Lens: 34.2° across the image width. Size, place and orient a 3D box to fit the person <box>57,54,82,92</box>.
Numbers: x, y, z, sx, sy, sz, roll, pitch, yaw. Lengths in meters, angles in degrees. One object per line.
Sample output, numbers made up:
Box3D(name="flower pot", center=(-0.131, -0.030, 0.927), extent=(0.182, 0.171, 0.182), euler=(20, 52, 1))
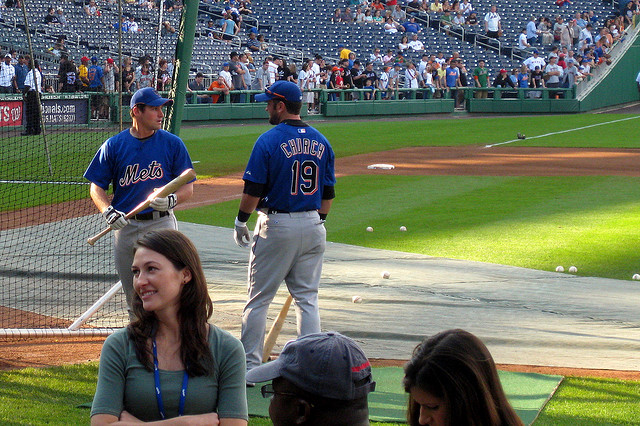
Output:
Box3D(name="person", center=(-8.052, -4.376, 33.166), extent=(0.671, 1.181, 1.072), euler=(-5, 14, -34))

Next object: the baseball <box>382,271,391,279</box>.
Box3D(name="baseball", center=(1.102, 1.058, 17.147), extent=(0.114, 0.115, 0.102), euler=(-1, -24, 19))

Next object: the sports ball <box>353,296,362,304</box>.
Box3D(name="sports ball", center=(0.580, 1.366, 16.083), extent=(0.107, 0.115, 0.099), euler=(20, -30, 12))

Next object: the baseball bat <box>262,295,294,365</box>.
Box3D(name="baseball bat", center=(-0.577, 1.625, 14.033), extent=(0.134, 0.990, 0.138), euler=(28, 6, 21))

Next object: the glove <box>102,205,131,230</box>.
Box3D(name="glove", center=(-2.702, 0.097, 13.715), extent=(0.327, 0.128, 0.244), euler=(31, -7, 42))

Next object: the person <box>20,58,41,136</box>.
Box3D(name="person", center=(-8.409, -3.306, 30.251), extent=(0.745, 2.041, 0.590), euler=(0, -5, -43))

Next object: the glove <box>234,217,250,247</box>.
Box3D(name="glove", center=(-1.068, 0.282, 14.135), extent=(0.184, 0.459, 0.339), euler=(2, 12, -7))

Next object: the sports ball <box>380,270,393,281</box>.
Box3D(name="sports ball", center=(1.085, 1.068, 17.135), extent=(0.138, 0.125, 0.157), euler=(-23, -1, 39))

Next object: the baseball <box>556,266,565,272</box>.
Box3D(name="baseball", center=(4.081, 0.969, 17.577), extent=(0.131, 0.069, 0.172), euler=(8, 12, 25))

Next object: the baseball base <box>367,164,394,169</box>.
Box3D(name="baseball base", center=(1.557, -1.140, 26.545), extent=(0.672, 0.105, 0.611), euler=(3, 10, 2))

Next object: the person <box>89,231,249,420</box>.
Box3D(name="person", center=(-1.614, 1.270, 11.344), extent=(1.650, 1.969, 0.605), euler=(3, 12, -2))

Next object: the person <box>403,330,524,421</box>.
Box3D(name="person", center=(1.507, 1.761, 10.953), extent=(1.145, 0.974, 0.926), euler=(-2, 7, 9))

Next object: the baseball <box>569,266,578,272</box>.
Box3D(name="baseball", center=(4.292, 0.976, 17.560), extent=(0.064, 0.069, 0.124), euler=(8, 8, 44))

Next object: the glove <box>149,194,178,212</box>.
Box3D(name="glove", center=(-2.086, -0.105, 13.761), extent=(0.304, 0.118, 0.215), euler=(-14, 4, -8))
